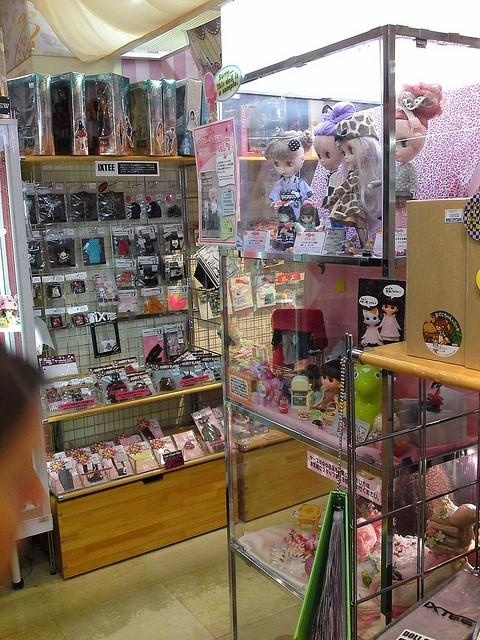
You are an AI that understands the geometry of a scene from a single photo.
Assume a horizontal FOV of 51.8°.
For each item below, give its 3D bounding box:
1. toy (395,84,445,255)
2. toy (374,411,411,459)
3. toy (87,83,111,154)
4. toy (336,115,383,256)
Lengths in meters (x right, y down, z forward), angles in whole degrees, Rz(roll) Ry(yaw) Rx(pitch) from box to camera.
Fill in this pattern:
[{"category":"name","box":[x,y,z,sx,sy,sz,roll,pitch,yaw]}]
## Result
[{"category":"toy","box":[0.439,-0.373,1.228,0.181,0.413,0.053,-7,10,-40]},{"category":"toy","box":[0.399,0.304,1.301,0.088,0.114,0.038,-6,5,-32]},{"category":"toy","box":[-0.823,-1.182,2.872,0.123,0.407,0.063,0,8,7]},{"category":"toy","box":[0.296,-0.349,1.248,0.047,0.335,0.166,-3,8,-18]}]
